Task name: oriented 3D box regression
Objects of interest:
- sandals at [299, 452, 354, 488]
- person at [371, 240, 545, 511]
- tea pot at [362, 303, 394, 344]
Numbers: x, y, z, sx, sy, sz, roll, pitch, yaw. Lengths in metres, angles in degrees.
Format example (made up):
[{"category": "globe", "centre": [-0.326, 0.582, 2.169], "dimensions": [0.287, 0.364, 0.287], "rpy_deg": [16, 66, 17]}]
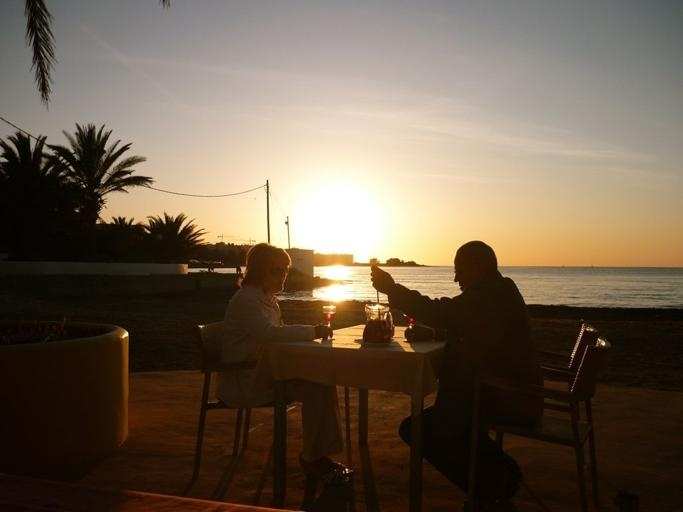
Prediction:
[{"category": "sandals", "centre": [-0.146, 1.805, 4.664], "dimensions": [0.374, 0.232, 0.263], "rpy_deg": [-2, 2, 1]}, {"category": "person", "centre": [0.918, 0.907, 4.198], "dimensions": [1.140, 2.015, 0.713], "rpy_deg": [2, 1, 22]}, {"category": "tea pot", "centre": [0.306, 0.565, 4.421], "dimensions": [0.253, 0.299, 0.188], "rpy_deg": [-1, 0, -18]}]
